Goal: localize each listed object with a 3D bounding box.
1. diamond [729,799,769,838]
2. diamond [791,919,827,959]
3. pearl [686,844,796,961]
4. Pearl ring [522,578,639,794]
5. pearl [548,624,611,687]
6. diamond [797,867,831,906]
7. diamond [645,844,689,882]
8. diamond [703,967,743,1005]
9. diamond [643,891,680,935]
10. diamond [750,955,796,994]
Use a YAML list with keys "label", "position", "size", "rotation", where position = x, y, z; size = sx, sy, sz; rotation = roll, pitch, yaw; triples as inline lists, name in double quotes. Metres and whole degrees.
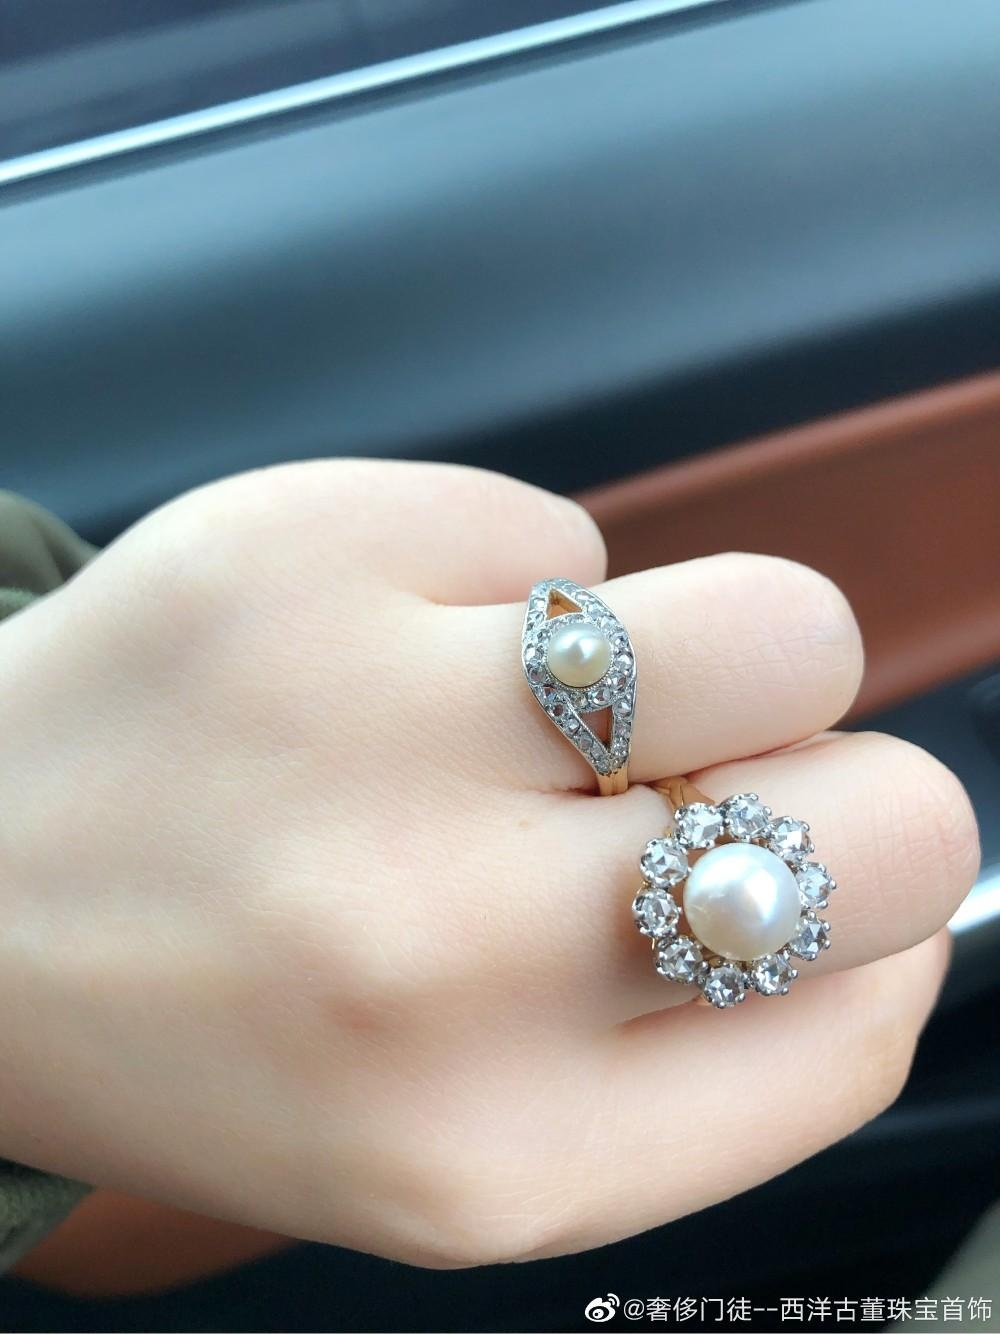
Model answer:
- label: "diamond"
  position: [0.159, 0.094, 0.903]
  size: [0.028, 0.009, 0.022]
  rotation: [-6, 77, -2]
- label: "diamond"
  position: [0.191, 0.167, 0.893]
  size: [0.028, 0.010, 0.022]
  rotation: [-5, 102, -25]
- label: "pearl"
  position: [0.144, 0.142, 0.875]
  size: [0.077, 0.034, 0.062]
  rotation: [12, 78, -3]
- label: "Pearl ring"
  position: [0.051, 0.017, 0.917]
  size: [0.051, 0.113, 0.089]
  rotation: [-21, 64, -4]
- label: "pearl"
  position: [0.049, -0.007, 0.901]
  size: [0.037, 0.028, 0.037]
  rotation: [16, 60, 20]
- label: "diamond"
  position: [0.193, 0.135, 0.893]
  size: [0.028, 0.009, 0.021]
  rotation: [17, 81, 1]
- label: "diamond"
  position: [0.103, 0.120, 0.887]
  size: [0.028, 0.013, 0.022]
  rotation: [3, 74, -2]
- label: "diamond"
  position: [0.138, 0.194, 0.892]
  size: [0.029, 0.012, 0.022]
  rotation: [1, 85, -14]
- label: "diamond"
  position: [0.100, 0.148, 0.877]
  size: [0.027, 0.013, 0.023]
  rotation: [-6, 72, -2]
- label: "diamond"
  position: [0.169, 0.190, 0.896]
  size: [0.028, 0.013, 0.024]
  rotation: [-17, 106, -30]
